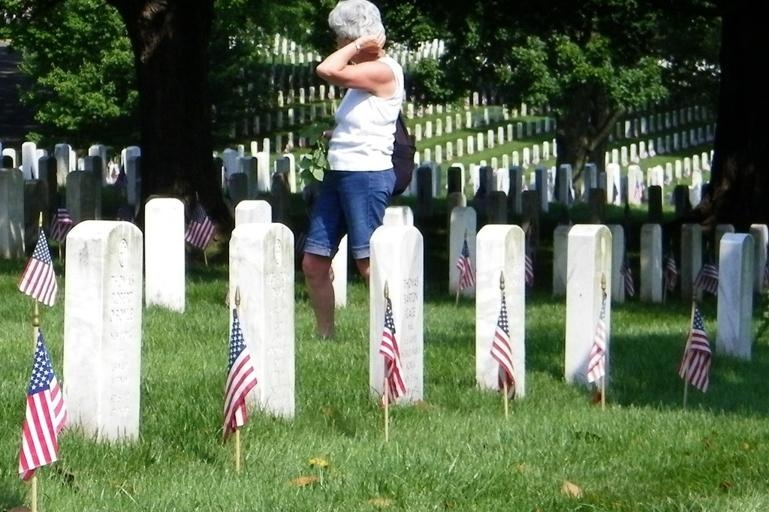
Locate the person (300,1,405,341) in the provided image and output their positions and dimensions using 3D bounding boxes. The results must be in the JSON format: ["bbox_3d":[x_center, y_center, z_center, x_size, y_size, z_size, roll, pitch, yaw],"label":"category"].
[{"bbox_3d":[-0.414,-1.105,19.276,1.272,4.454,1.113,0,1,10],"label":"person"}]

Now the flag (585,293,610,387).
[{"bbox_3d":[2.744,1.083,19.059,0.269,1.245,0.617,0,1,8],"label":"flag"}]

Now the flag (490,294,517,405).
[{"bbox_3d":[1.511,1.131,18.732,0.306,1.356,0.585,0,1,5],"label":"flag"}]

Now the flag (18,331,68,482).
[{"bbox_3d":[-3.932,1.810,17.130,0.411,2.387,0.631,-24,-30,31],"label":"flag"}]

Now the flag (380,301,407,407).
[{"bbox_3d":[0.105,1.158,18.298,0.294,1.371,0.626,0,1,5],"label":"flag"}]

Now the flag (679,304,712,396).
[{"bbox_3d":[4.002,1.183,19.068,0.379,1.186,0.713,0,2,12],"label":"flag"}]

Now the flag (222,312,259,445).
[{"bbox_3d":[-1.738,1.394,17.716,0.405,1.558,0.265,0,1,2],"label":"flag"}]
